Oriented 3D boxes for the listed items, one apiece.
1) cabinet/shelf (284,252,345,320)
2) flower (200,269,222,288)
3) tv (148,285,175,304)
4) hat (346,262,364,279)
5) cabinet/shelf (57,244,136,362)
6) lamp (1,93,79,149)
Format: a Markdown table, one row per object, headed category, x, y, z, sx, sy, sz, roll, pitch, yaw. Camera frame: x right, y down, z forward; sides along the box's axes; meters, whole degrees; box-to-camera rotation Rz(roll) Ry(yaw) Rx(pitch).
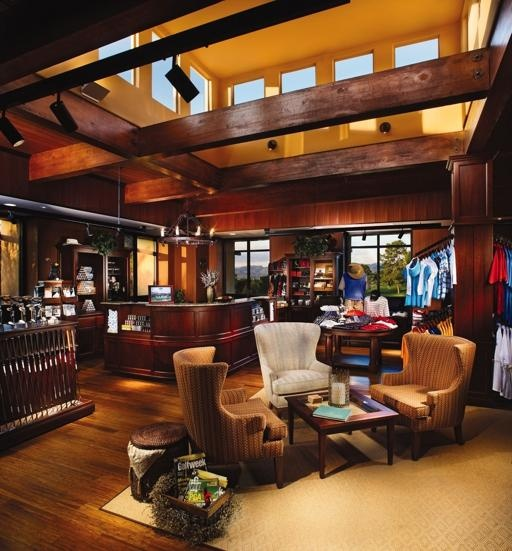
| category | x | y | z | sx | sy | sz | roll | pitch | yaw |
| --- | --- | --- | --- | --- | --- | --- | --- | --- | --- |
| cabinet/shelf | 1.267 | 0.246 | 9.904 | 1.178 | 1.490 | 0.791 | 1 | 7 | 14 |
| flower | -0.913 | 0.046 | 8.984 | 0.495 | 0.456 | 0.454 | 6 | -6 | -18 |
| tv | -1.420 | 0.286 | 6.743 | 0.350 | 0.298 | 0.532 | -2 | 6 | -13 |
| hat | 1.803 | -0.078 | 8.155 | 0.291 | 0.286 | 0.259 | 2 | 7 | 23 |
| cabinet/shelf | -2.867 | 0.422 | 8.157 | 0.955 | 2.040 | 1.985 | -1 | 6 | 0 |
| lamp | -2.020 | -1.466 | 4.206 | 0.558 | 0.484 | 0.264 | -22 | -11 | -10 |
